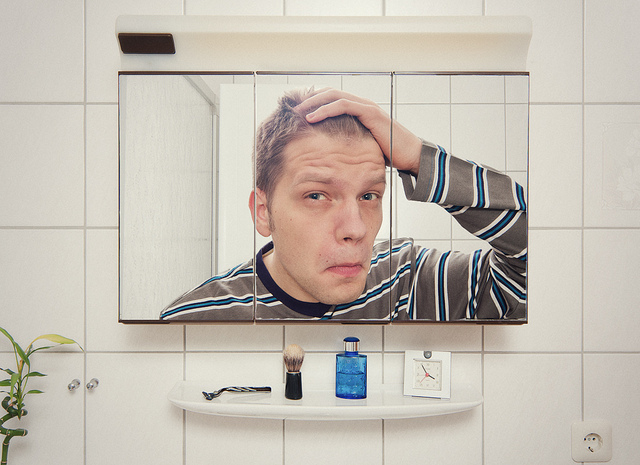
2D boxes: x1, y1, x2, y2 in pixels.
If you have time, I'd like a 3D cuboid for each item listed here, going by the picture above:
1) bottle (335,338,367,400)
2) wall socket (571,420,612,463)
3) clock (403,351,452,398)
[{"bbox_3d":[0.092,0.409,2.741,0.099,0.178,0.090,2,-10,-5],"label":"bottle"},{"bbox_3d":[0.818,0.639,2.801,0.116,0.125,0.029,-2,1,-4],"label":"wall socket"},{"bbox_3d":[0.315,0.428,2.739,0.112,0.126,0.040,1,-12,6],"label":"clock"}]
